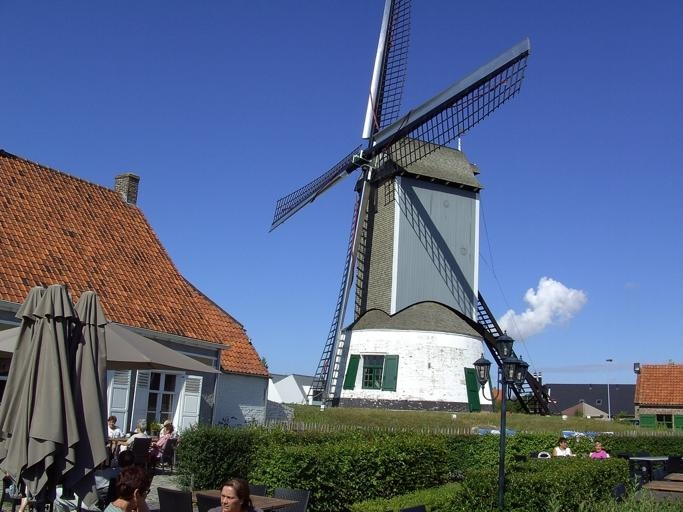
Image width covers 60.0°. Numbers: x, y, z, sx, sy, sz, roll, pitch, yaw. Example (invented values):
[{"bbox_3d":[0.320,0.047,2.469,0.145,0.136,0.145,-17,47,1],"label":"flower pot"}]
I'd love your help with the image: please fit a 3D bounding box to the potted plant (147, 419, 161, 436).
[{"bbox_3d":[-6.034,5.551,19.146,0.489,0.493,0.438,3,-12,-14],"label":"potted plant"}]
